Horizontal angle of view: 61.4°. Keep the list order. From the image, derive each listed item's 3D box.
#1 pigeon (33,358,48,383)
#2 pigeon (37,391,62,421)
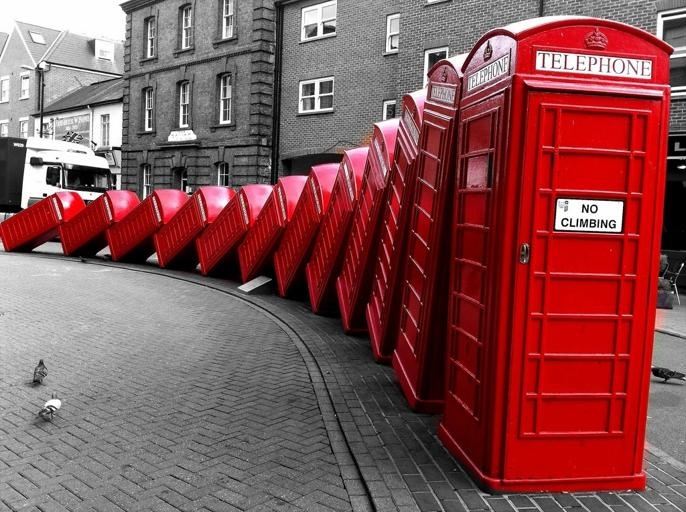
[{"bbox_3d":[-3.229,1.236,6.147,0.125,0.166,0.307,-3,-27,-26],"label":"pigeon"},{"bbox_3d":[-2.649,1.369,5.241,0.143,0.201,0.284,-2,15,0],"label":"pigeon"}]
